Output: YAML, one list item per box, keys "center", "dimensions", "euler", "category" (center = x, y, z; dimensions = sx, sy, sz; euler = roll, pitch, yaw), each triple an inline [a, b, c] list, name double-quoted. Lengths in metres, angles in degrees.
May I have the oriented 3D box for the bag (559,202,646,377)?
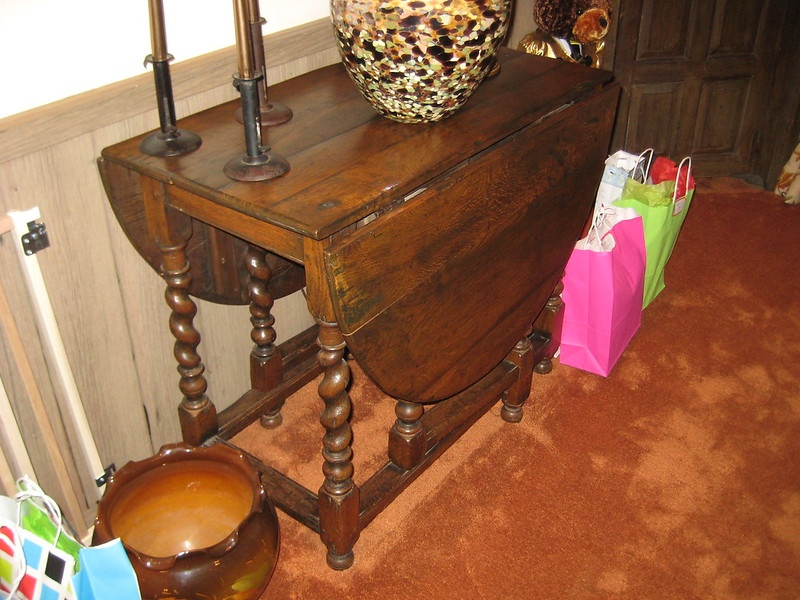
- center: [0.675, -0.042, 2.078]
  dimensions: [0.192, 0.516, 0.386]
  euler: [27, 53, 34]
  category: "bag"

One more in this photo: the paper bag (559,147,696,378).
- center: [0.791, -0.107, 2.165]
  dimensions: [0.263, 0.634, 0.676]
  euler: [28, 50, 31]
  category: "paper bag"

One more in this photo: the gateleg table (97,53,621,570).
- center: [-0.026, -0.057, 1.856]
  dimensions: [0.752, 1.012, 1.271]
  euler: [26, 41, 32]
  category: "gateleg table"
